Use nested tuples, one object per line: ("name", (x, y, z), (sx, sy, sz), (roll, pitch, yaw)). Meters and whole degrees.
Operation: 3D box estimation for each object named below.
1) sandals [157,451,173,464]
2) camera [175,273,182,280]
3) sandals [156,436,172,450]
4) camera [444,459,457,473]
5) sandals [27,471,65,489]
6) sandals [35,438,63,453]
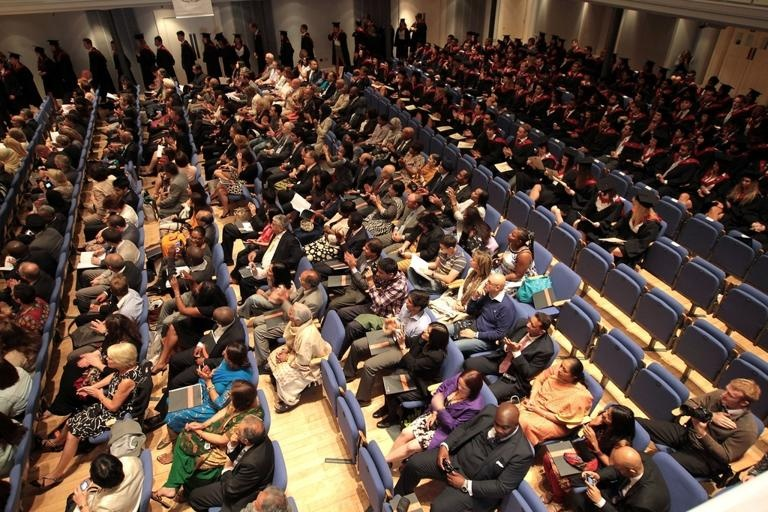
("sandals", (-3.166, 2.949, 6.818), (0.233, 0.063, 0.124), (-11, 47, -24))
("camera", (-3.698, 0.371, 8.411), (0.057, 0.147, 0.108), (6, 15, -41))
("sandals", (-3.252, 2.789, 6.948), (0.204, 0.072, 0.107), (-45, 58, -9))
("camera", (0.819, 2.690, 6.020), (0.159, 0.163, 0.043), (8, 45, 41))
("sandals", (-4.732, 3.166, 6.585), (0.376, 0.092, 0.178), (-9, 52, -17))
("sandals", (-4.929, 2.792, 6.909), (0.402, 0.176, 0.134), (2, 30, 5))
